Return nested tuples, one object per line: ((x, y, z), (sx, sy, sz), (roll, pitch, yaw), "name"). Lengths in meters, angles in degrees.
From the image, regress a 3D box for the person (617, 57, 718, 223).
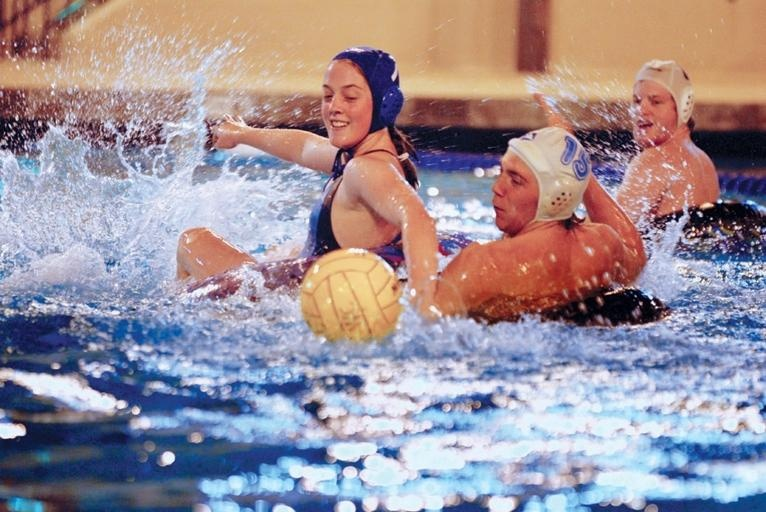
((1.910, -0.800, 6.067), (0.690, 1.042, 0.721), (9, 22, 34), "person")

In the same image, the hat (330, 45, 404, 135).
((-0.089, -0.915, 4.991), (0.375, 0.456, 0.182), (-1, 9, -7), "hat")

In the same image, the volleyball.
((-0.132, 0.185, 4.669), (0.441, 0.428, 0.458), (-9, 15, 18), "volleyball")

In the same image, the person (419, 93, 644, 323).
((0.839, -0.257, 4.877), (1.496, 1.379, 0.616), (-8, 12, -39), "person")
